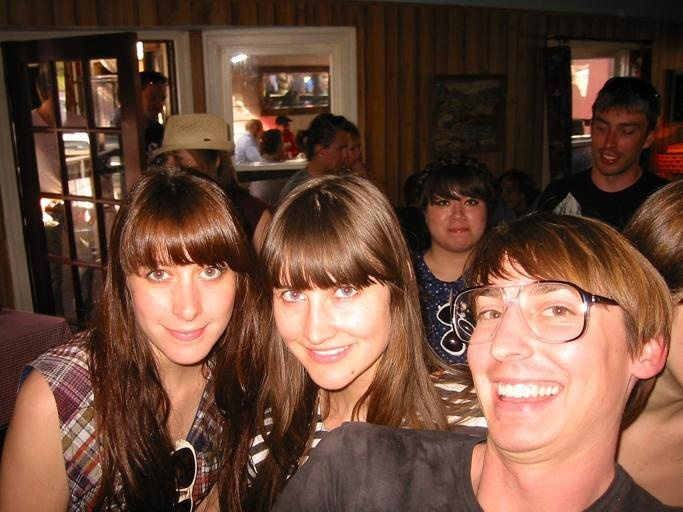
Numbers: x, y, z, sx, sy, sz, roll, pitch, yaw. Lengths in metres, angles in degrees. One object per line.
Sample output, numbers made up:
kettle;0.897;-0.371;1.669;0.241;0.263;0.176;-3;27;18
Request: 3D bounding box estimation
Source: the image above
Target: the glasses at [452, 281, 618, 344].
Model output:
glasses;0.506;0.146;1.521;0.374;0.175;0.133;4;14;26
